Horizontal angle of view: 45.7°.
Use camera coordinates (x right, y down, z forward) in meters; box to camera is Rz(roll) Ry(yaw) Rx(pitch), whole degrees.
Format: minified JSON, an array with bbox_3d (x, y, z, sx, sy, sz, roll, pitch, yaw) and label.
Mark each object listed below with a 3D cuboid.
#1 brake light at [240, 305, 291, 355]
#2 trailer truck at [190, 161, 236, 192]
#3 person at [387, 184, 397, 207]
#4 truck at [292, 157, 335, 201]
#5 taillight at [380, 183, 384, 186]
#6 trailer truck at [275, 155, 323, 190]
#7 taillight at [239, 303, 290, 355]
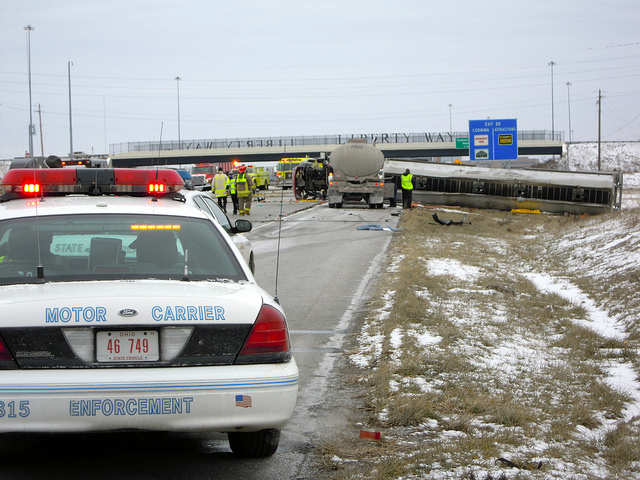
[{"bbox_3d":[-0.366,0.624,5.373,0.215,0.196,0.393,-1,14,-6],"label":"brake light"},{"bbox_3d":[-8.977,-5.010,60.848,2.315,2.823,5.181,-2,-1,8],"label":"trailer truck"},{"bbox_3d":[3.296,-2.011,34.425,0.333,1.077,0.884,-2,8,5],"label":"person"},{"bbox_3d":[0.117,-3.417,41.662,3.526,1.446,2.845,-11,0,-4],"label":"truck"},{"bbox_3d":[2.660,-2.437,32.904,0.127,0.131,0.033,1,-5,-3],"label":"taillight"},{"bbox_3d":[-2.402,-5.087,55.322,2.295,2.352,4.159,0,16,-13],"label":"trailer truck"},{"bbox_3d":[-0.366,0.624,5.309,0.221,0.190,0.404,-2,19,-9],"label":"taillight"}]
